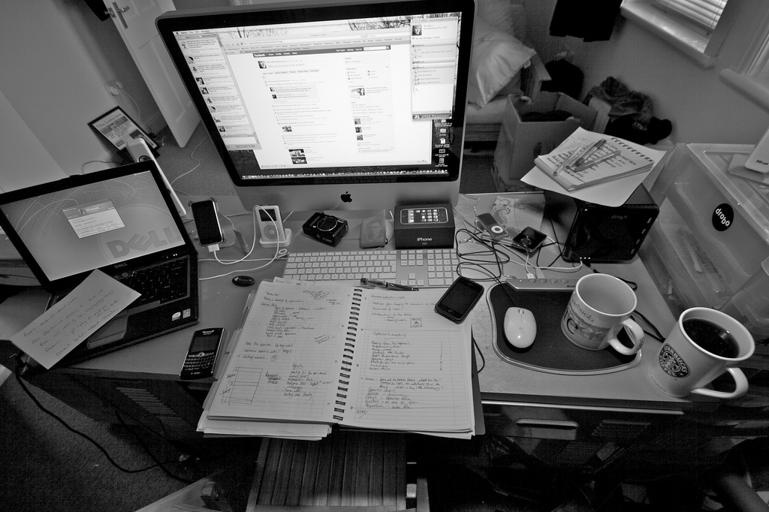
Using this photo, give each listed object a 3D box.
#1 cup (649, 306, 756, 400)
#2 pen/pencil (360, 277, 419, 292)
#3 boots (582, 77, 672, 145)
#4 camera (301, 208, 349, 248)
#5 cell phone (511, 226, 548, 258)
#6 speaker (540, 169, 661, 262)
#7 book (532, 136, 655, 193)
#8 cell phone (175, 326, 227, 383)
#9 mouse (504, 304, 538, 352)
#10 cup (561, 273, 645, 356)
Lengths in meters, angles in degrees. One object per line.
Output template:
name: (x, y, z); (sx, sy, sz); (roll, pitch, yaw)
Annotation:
cup: (0.966, 0.304, 1.626); (0.243, 0.209, 0.208); (11, 48, 16)
pen/pencil: (0.020, 0.104, 1.850); (0.157, 0.017, 0.028); (6, 47, 10)
boots: (1.272, -0.718, 2.833); (0.297, 0.152, 0.424); (-38, 58, -9)
camera: (-0.217, -0.103, 1.991); (0.145, 0.061, 0.111); (21, 60, 13)
cell phone: (0.531, -0.046, 1.926); (0.101, 0.030, 0.105); (34, 73, 19)
speaker: (0.770, -0.095, 1.979); (0.248, 0.310, 0.450); (4, 37, 1)
book: (0.758, -0.348, 1.921); (0.272, 0.072, 0.255); (-26, 45, -13)
cell phone: (-0.597, 0.329, 1.720); (0.119, 0.044, 0.167); (7, 59, 10)
mouse: (0.451, 0.227, 1.765); (0.110, 0.036, 0.155); (5, 47, 6)
cup: (0.681, 0.185, 1.750); (0.193, 0.210, 0.301); (-20, 47, -4)
